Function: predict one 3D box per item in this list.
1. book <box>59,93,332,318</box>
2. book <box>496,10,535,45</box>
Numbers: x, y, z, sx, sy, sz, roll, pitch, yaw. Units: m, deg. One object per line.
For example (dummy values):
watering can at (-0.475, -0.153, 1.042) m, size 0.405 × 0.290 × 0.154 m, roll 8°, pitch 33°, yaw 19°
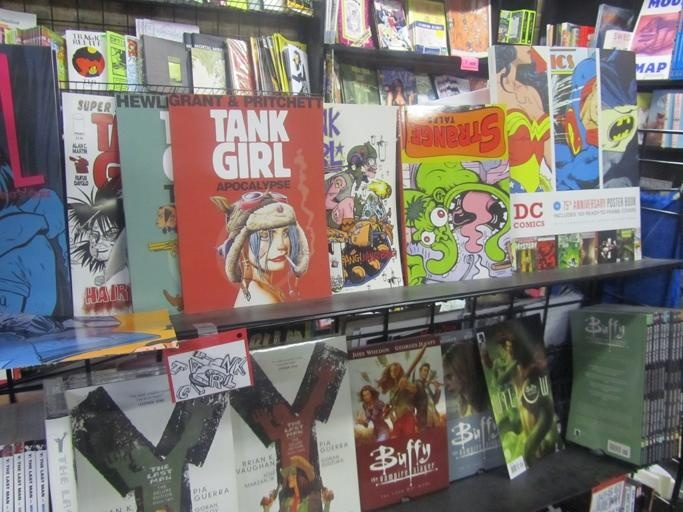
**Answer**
book at (-0.372, -0.149, 1.558) m, size 0.669 × 0.559 × 0.168 m, roll -4°, pitch 13°, yaw -14°
book at (1.148, -1.522, 3.852) m, size 0.231 × 0.224 × 0.138 m, roll 3°, pitch 14°, yaw 15°
